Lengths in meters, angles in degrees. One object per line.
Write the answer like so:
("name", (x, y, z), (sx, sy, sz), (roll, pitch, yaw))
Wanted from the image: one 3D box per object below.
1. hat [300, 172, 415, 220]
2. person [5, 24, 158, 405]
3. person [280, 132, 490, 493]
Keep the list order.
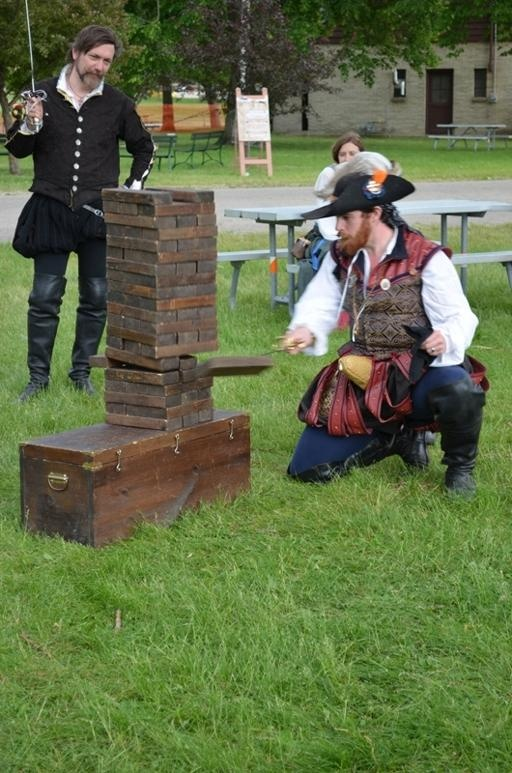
("hat", (0.411, -0.711, 3.135), (0.281, 0.096, 0.181), (-20, 5, -29))
("person", (-0.981, -0.917, 4.761), (0.773, 1.962, 0.755), (-1, 9, -9))
("person", (0.526, -0.234, 3.403), (0.812, 1.333, 0.595), (2, 9, 10))
